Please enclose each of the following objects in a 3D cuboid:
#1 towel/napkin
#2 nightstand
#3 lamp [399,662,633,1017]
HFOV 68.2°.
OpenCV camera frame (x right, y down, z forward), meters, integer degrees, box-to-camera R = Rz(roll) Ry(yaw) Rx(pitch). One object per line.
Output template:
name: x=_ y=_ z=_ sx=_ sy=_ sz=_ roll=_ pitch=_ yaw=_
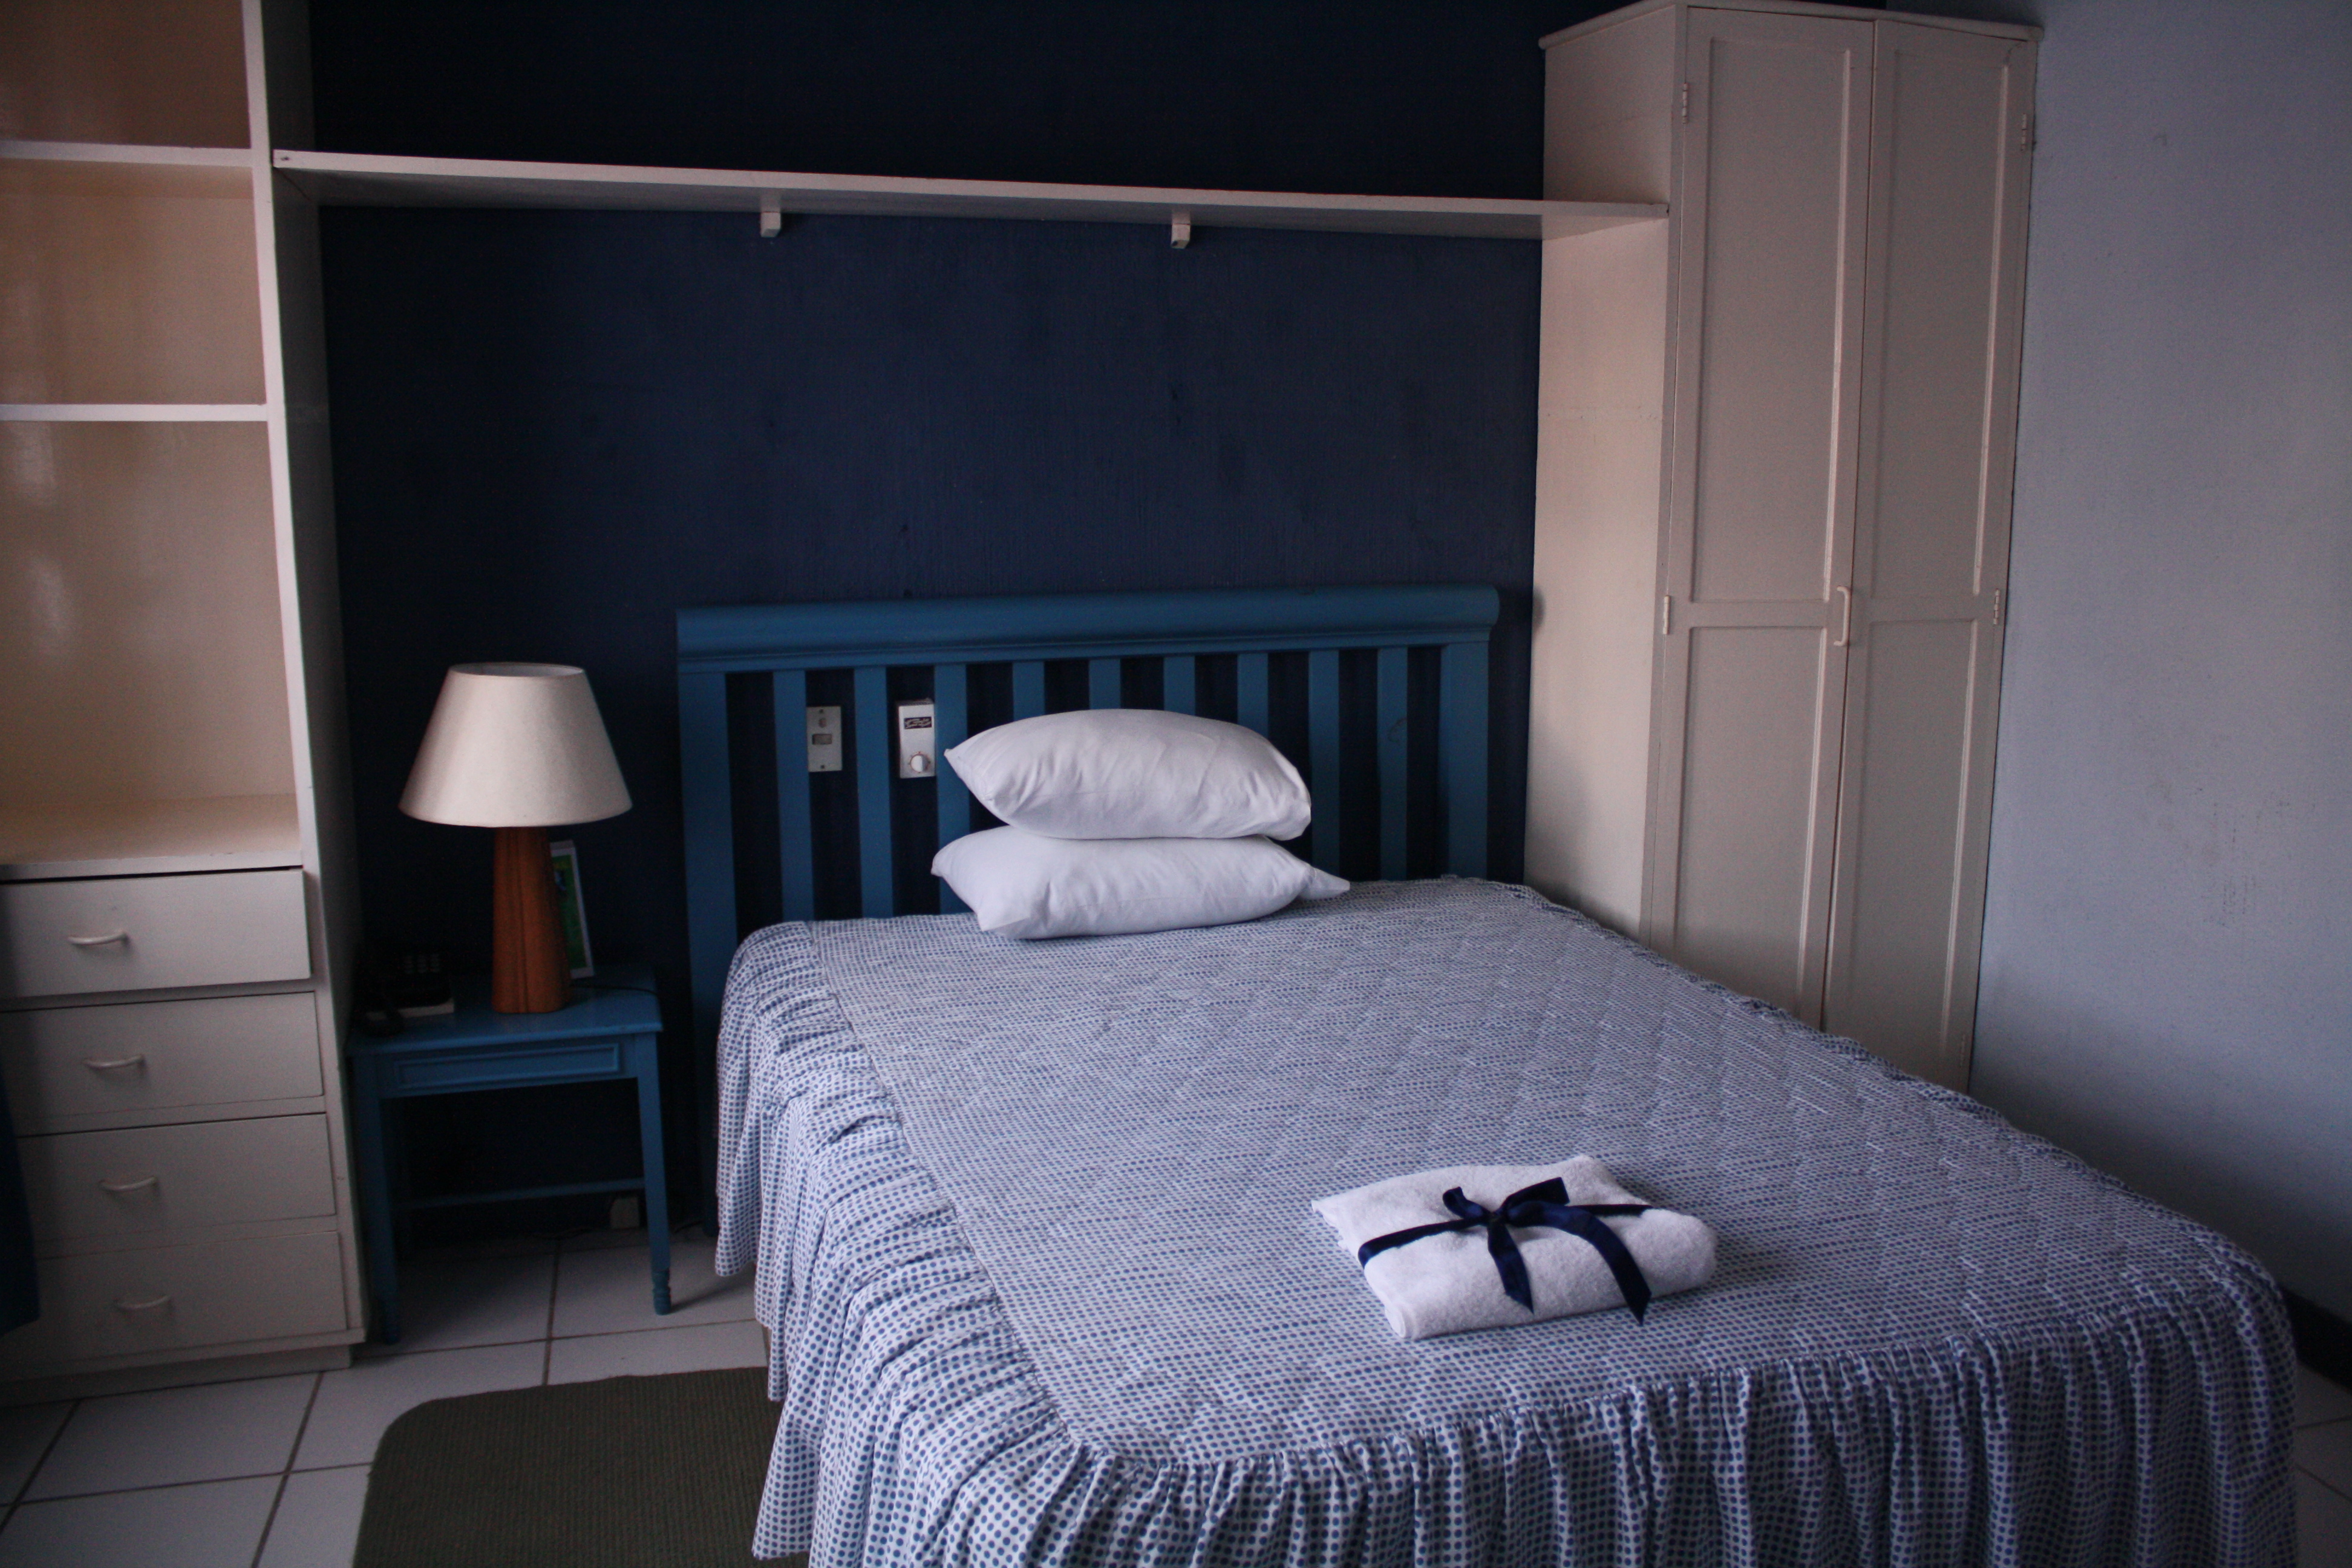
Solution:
towel/napkin: x=0.490 y=0.656 z=2.513 sx=0.318 sy=0.112 sz=0.294 roll=-3 pitch=8 yaw=-17
nightstand: x=-1.385 y=0.809 z=3.890 sx=0.736 sy=0.687 sz=0.654 roll=-2 pitch=2 yaw=-17
lamp: x=-1.380 y=0.106 z=3.632 sx=0.372 sy=0.726 sz=0.391 roll=-14 pitch=12 yaw=-40
